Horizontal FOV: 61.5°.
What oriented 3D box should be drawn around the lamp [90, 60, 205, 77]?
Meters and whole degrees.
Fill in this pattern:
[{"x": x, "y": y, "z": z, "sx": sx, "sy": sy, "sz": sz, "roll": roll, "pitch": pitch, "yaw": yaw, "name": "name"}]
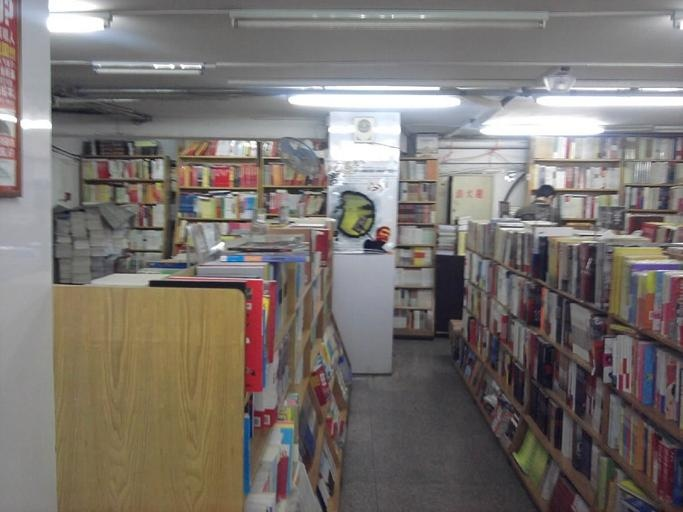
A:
[{"x": -1.646, "y": -1.632, "z": 4.930, "sx": 1.009, "sy": 0.110, "sz": 0.291, "roll": 5, "pitch": 10, "yaw": 16, "name": "lamp"}]
